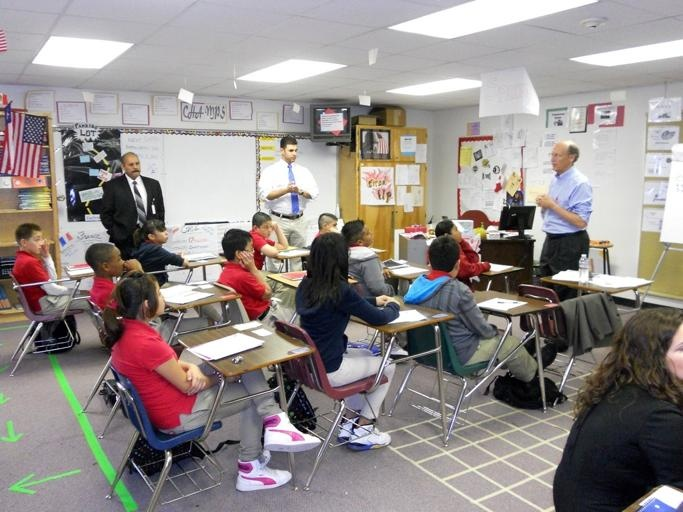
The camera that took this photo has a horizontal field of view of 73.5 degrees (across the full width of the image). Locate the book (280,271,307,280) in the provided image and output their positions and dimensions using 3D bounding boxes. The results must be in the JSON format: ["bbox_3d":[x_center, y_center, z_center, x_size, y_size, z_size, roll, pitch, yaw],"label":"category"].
[{"bbox_3d":[-0.430,0.188,4.220,0.134,0.015,0.147,-6,12,-40],"label":"book"}]

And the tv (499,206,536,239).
[{"bbox_3d":[2.488,-0.478,6.523,0.537,0.378,0.228,0,15,-5],"label":"tv"}]

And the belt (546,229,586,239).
[{"bbox_3d":[2.262,-0.206,4.620,0.362,0.122,0.192,4,12,24],"label":"belt"}]

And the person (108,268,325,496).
[{"bbox_3d":[-0.723,0.752,2.476,0.940,1.329,0.439,-5,12,-19],"label":"person"}]

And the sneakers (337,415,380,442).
[{"bbox_3d":[0.161,1.192,3.170,0.346,0.148,0.112,-3,4,-29],"label":"sneakers"}]

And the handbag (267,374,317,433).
[{"bbox_3d":[-0.306,1.049,3.227,0.257,0.435,0.163,-22,3,22],"label":"handbag"}]

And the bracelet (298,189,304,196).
[{"bbox_3d":[-0.510,-0.801,5.827,0.068,0.062,0.065,-1,4,-5],"label":"bracelet"}]

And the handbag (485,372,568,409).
[{"bbox_3d":[1.557,1.052,3.696,0.368,0.116,0.310,-1,5,-38],"label":"handbag"}]

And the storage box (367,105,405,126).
[{"bbox_3d":[0.819,-2.439,8.056,0.428,0.368,0.589,-6,10,-36],"label":"storage box"}]

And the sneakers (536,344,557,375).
[{"bbox_3d":[1.747,0.900,3.944,0.157,0.274,0.101,27,-23,13],"label":"sneakers"}]

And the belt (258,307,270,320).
[{"bbox_3d":[-0.674,0.513,3.997,0.035,0.093,0.069,32,-3,-15],"label":"belt"}]

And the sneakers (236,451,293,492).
[{"bbox_3d":[-0.473,1.288,2.820,0.415,0.267,0.144,0,2,-18],"label":"sneakers"}]

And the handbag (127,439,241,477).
[{"bbox_3d":[-1.083,1.226,2.850,0.343,0.081,0.350,-11,10,-39],"label":"handbag"}]

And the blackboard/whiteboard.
[{"bbox_3d":[-1.970,-0.584,5.640,2.619,1.427,0.030,-4,9,-24],"label":"blackboard/whiteboard"}]

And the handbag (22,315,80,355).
[{"bbox_3d":[-3.055,0.806,4.845,0.495,0.455,0.421,1,1,-42],"label":"handbag"}]

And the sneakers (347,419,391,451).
[{"bbox_3d":[0.182,1.226,3.133,0.338,0.154,0.129,-1,4,-14],"label":"sneakers"}]

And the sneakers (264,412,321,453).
[{"bbox_3d":[-0.310,0.989,2.543,0.412,0.236,0.148,3,-10,-10],"label":"sneakers"}]

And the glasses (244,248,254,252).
[{"bbox_3d":[-0.784,-0.053,3.855,0.038,0.041,0.046,11,40,21],"label":"glasses"}]
